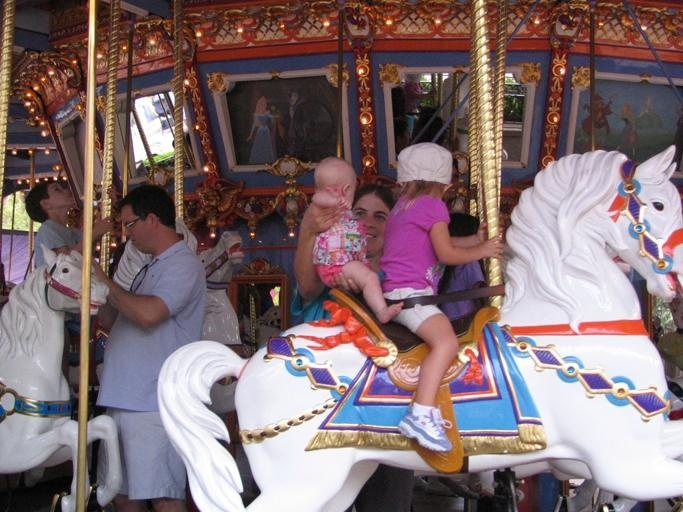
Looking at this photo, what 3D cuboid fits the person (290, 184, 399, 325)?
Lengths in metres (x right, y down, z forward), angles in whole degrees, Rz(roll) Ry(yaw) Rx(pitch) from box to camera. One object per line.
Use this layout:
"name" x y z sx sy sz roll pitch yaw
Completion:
"person" -0.026 -0.067 3.443 0.467 0.804 0.287 -2 -10 22

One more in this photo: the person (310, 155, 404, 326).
"person" 0.115 -0.081 3.145 0.508 0.803 0.525 10 -10 -32

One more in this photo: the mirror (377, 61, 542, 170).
"mirror" 1.348 -1.533 7.271 1.752 1.394 0.092 6 42 24

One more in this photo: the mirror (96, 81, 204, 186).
"mirror" -2.321 -1.475 7.909 1.398 1.128 0.524 5 8 34

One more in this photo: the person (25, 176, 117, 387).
"person" -2.335 0.168 5.786 0.575 1.658 0.499 -14 28 -31

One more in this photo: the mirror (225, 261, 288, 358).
"mirror" -0.951 0.743 7.582 0.653 1.355 0.139 0 -25 -2

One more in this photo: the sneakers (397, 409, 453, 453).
"sneakers" 0.370 0.745 2.841 0.209 0.178 0.138 -1 7 -11
